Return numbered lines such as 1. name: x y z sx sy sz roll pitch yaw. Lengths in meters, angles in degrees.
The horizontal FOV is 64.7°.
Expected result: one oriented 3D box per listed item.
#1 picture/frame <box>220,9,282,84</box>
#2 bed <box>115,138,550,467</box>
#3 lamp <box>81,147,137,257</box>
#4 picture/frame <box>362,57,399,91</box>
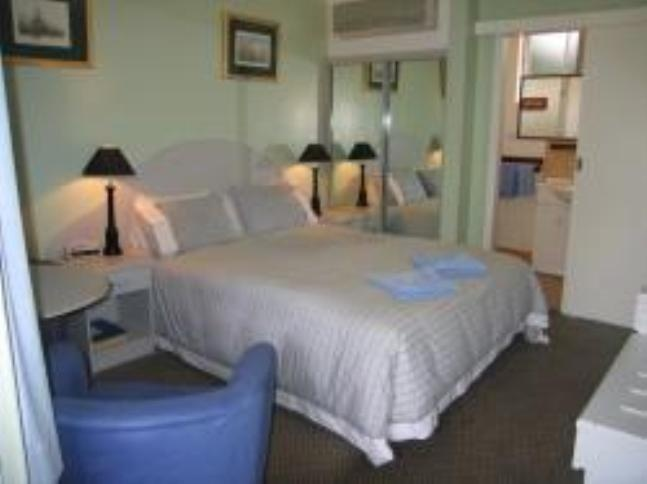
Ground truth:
1. picture/frame: -0.131 -0.352 0.899 0.118 0.126 0.012 2 8 -10
2. bed: 0.002 0.075 0.964 0.663 0.398 0.492 12 21 35
3. lamp: -0.364 -0.069 0.886 0.043 0.191 0.077 12 21 39
4. picture/frame: 0.103 -0.296 0.898 0.068 0.066 0.017 1 0 17
